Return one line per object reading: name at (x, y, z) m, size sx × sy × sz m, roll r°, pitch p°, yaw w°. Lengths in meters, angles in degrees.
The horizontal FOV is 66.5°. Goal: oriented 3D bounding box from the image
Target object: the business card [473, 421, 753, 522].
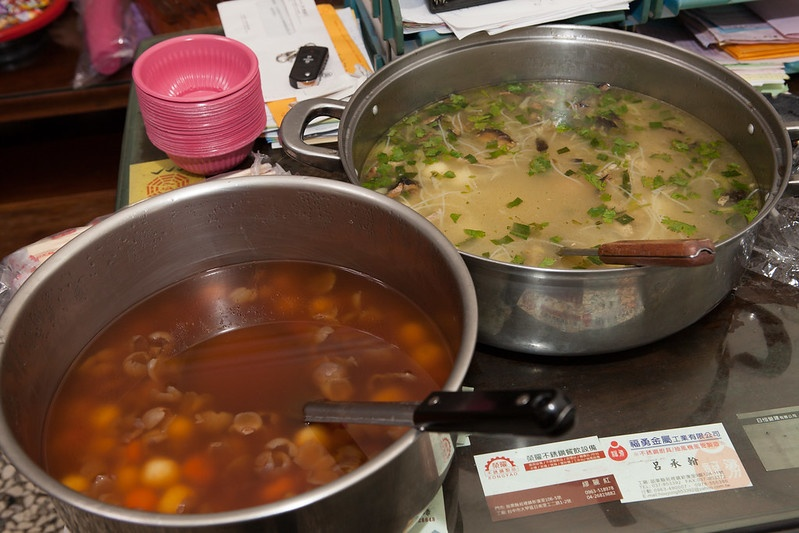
business card at (0.433, 0.423, 1.258) m, size 0.533 × 0.039 × 0.138 m, roll -6°, pitch 48°, yaw -4°
